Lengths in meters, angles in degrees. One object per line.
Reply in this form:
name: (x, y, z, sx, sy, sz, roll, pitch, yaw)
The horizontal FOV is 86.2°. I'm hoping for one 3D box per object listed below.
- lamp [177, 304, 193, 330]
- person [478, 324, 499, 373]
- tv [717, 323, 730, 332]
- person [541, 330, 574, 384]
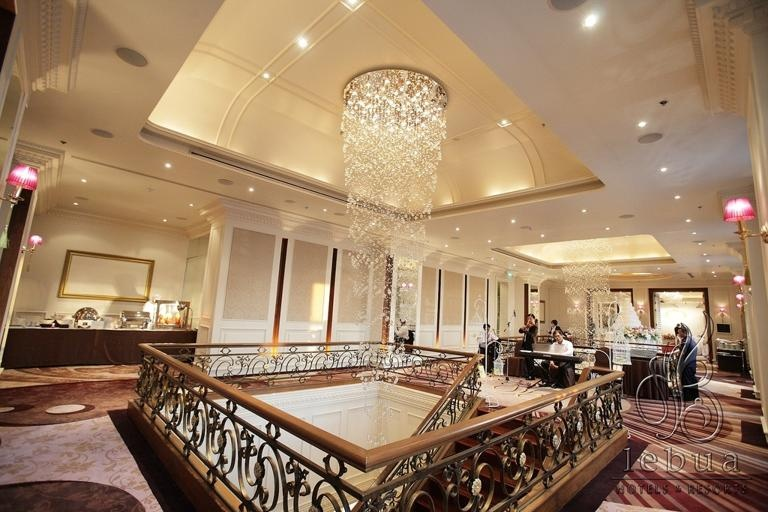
lamp: (-5.837, 1.707, 11.911, 0.417, 0.742, 0.275, 9, -13, -31)
person: (3.367, 2.910, 13.007, 0.628, 1.550, 1.768, -1, -11, 14)
tv: (15.499, 3.268, 18.628, 0.040, 0.328, 0.380, 18, -20, -31)
person: (4.569, 2.673, 10.681, 0.864, 1.354, 0.815, 11, -8, -41)
